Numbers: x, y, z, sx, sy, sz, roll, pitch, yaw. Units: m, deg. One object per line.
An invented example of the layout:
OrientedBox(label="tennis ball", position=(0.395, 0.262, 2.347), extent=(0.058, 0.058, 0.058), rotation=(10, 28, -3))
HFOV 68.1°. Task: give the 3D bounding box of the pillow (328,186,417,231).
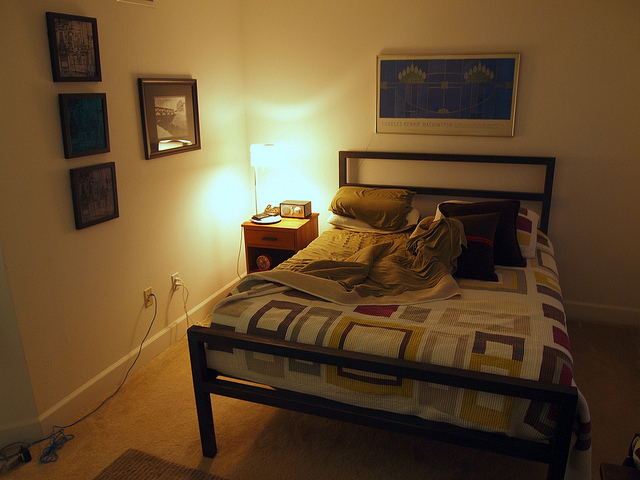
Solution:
OrientedBox(label="pillow", position=(0.462, -0.297, 4.078), extent=(0.452, 0.145, 0.479), rotation=(4, 31, 19))

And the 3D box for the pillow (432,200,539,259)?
OrientedBox(label="pillow", position=(1.198, -0.070, 3.431), extent=(0.396, 0.410, 0.120), rotation=(6, 8, 38))

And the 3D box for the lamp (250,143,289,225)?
OrientedBox(label="lamp", position=(-0.476, -0.545, 4.461), extent=(0.362, 0.708, 0.602), rotation=(0, 16, -3))

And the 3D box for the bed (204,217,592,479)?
OrientedBox(label="bed", position=(0.556, 0.453, 2.749), extent=(1.605, 0.590, 1.684), rotation=(7, 26, 19))
